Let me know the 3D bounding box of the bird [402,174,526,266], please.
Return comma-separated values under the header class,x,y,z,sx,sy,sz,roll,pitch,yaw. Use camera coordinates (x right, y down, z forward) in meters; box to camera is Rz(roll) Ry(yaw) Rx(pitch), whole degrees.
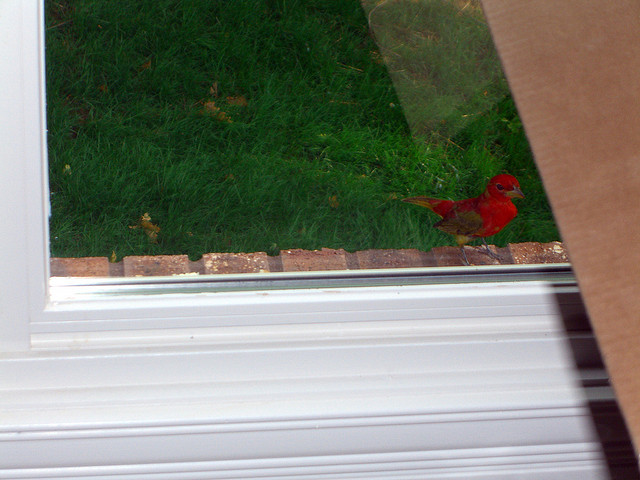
class,x,y,z,sx,sy,sz,roll,pitch,yaw
bird,0.304,-0.054,1.493,0.166,0.164,0.201,-3,4,-30
